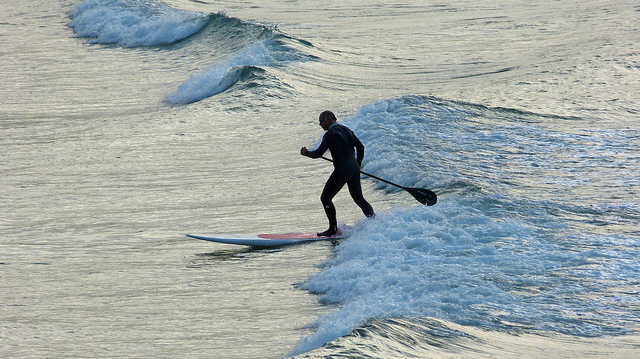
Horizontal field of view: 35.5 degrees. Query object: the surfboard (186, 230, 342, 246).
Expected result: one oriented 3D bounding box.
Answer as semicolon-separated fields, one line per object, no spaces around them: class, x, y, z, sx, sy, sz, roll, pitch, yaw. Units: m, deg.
surfboard;-1.924;1.903;31.960;4.086;0.626;0.437;-3;71;6
